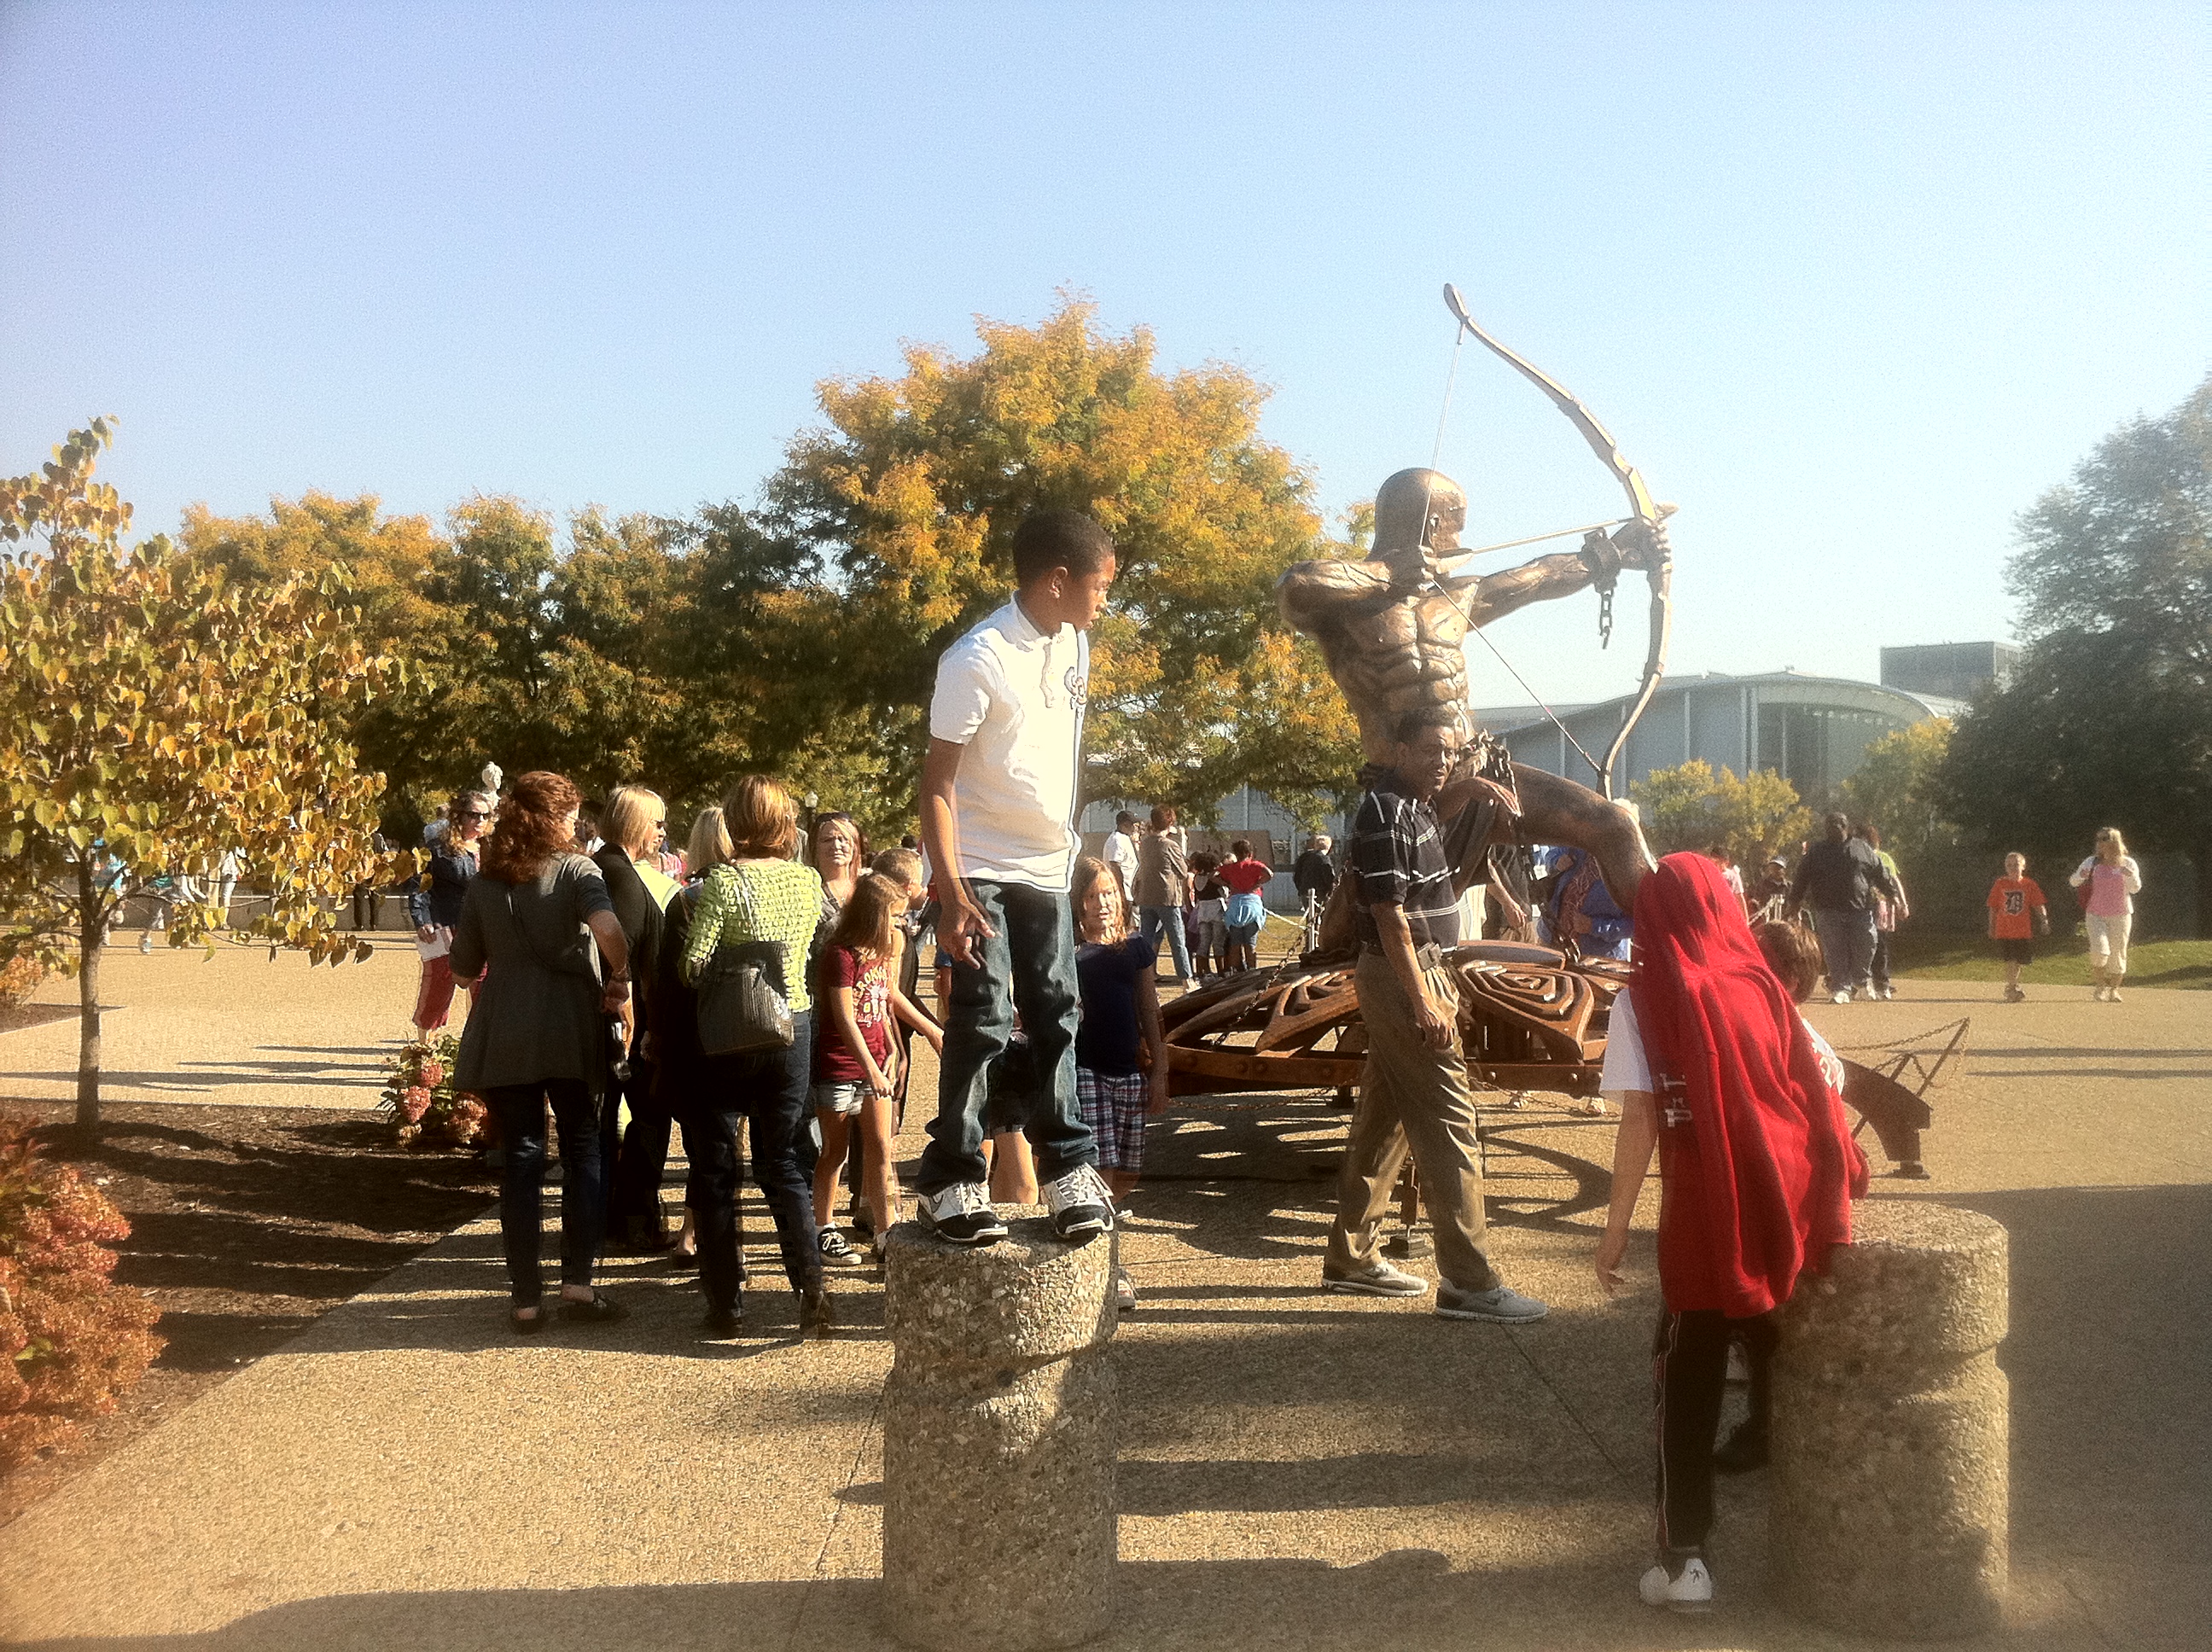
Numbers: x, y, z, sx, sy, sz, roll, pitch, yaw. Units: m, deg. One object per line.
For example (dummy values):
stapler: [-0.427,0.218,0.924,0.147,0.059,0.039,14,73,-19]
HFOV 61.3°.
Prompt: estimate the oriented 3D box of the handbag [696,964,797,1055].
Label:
handbag: [-1.394,0.703,7.144,0.314,0.307,0.170,-1,10,1]

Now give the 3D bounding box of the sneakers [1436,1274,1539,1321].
sneakers: [1.440,1.816,7.181,0.395,0.166,0.145,0,3,5]

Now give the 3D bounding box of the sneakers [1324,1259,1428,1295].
sneakers: [1.070,1.814,7.519,0.409,0.170,0.155,1,-1,6]

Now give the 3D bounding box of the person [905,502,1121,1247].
person: [-0.284,0.045,5.817,0.587,2.111,1.144,-1,2,0]

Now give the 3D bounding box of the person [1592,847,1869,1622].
person: [1.745,1.104,5.203,0.582,2.035,0.500,0,2,5]

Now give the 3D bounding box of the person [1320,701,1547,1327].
person: [1.210,0.727,7.367,0.728,2.347,1.043,0,2,6]

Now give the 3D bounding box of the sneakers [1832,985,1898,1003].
sneakers: [8.227,1.836,20.453,0.589,0.257,0.180,9,-9,-29]

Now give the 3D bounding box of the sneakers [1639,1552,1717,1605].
sneakers: [1.533,2.052,5.099,0.098,0.109,0.233,1,-2,0]
